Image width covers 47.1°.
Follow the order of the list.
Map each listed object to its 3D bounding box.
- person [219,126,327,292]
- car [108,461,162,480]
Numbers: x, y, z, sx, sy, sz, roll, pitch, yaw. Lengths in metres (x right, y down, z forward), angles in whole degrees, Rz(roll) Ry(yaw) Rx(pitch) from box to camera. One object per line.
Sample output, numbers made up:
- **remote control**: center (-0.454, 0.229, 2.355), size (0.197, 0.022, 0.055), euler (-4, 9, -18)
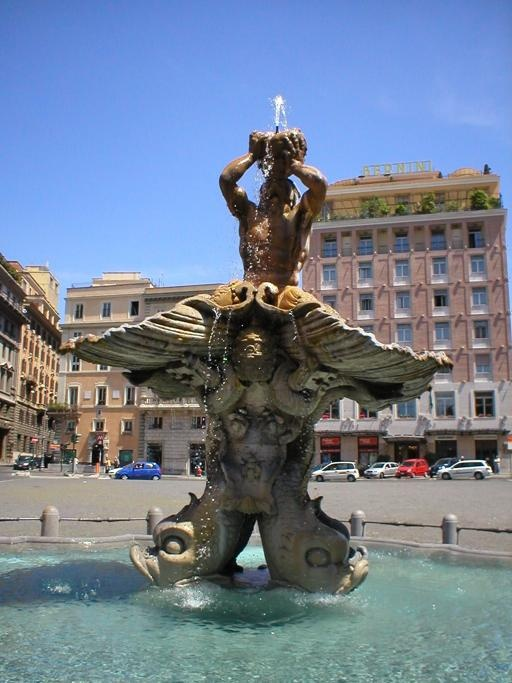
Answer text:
- **person**: center (0.170, -1.305, 5.785), size (1.052, 1.678, 0.677), euler (-1, -9, 6)
- **car**: center (-8.785, 9.842, 44.076), size (2.692, 1.078, 1.644), euler (3, -10, -5)
